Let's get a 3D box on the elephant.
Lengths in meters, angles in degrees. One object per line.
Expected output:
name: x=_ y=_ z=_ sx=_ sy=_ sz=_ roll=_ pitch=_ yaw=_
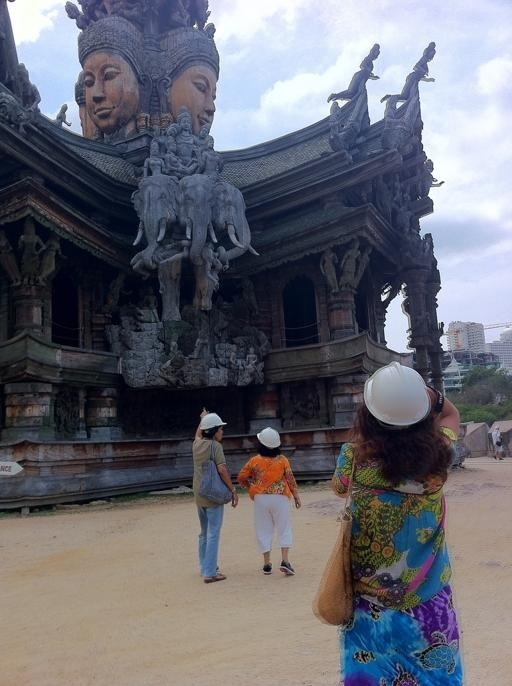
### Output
elephant: x=-1.469 y=-2.713 z=14.426 sx=2.702 sy=2.111 sz=1.251 roll=5 pitch=-21 yaw=-21

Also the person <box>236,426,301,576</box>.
person: x=0.117 y=1.425 z=5.871 sx=0.544 sy=1.274 sz=0.558 roll=-3 pitch=-7 yaw=-3

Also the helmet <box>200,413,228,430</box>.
helmet: x=-0.382 y=0.705 z=5.749 sx=0.204 sy=0.099 sz=0.162 roll=-12 pitch=9 yaw=-37

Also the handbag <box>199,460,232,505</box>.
handbag: x=-0.363 y=1.203 z=5.509 sx=0.326 sy=0.351 sz=0.176 roll=20 pitch=-41 yaw=-28

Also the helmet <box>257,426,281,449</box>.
helmet: x=0.116 y=0.862 z=5.978 sx=0.200 sy=0.131 sz=0.247 roll=8 pitch=14 yaw=-13

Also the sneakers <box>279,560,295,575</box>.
sneakers: x=0.266 y=1.948 z=5.561 sx=0.072 sy=0.084 sz=0.186 roll=-4 pitch=-37 yaw=19

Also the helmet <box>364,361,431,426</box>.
helmet: x=0.513 y=0.188 z=2.309 sx=0.202 sy=0.254 sz=0.100 roll=-9 pitch=-38 yaw=3

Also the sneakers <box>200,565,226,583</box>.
sneakers: x=-0.357 y=1.995 z=5.522 sx=0.092 sy=0.142 sz=0.239 roll=1 pitch=4 yaw=36
